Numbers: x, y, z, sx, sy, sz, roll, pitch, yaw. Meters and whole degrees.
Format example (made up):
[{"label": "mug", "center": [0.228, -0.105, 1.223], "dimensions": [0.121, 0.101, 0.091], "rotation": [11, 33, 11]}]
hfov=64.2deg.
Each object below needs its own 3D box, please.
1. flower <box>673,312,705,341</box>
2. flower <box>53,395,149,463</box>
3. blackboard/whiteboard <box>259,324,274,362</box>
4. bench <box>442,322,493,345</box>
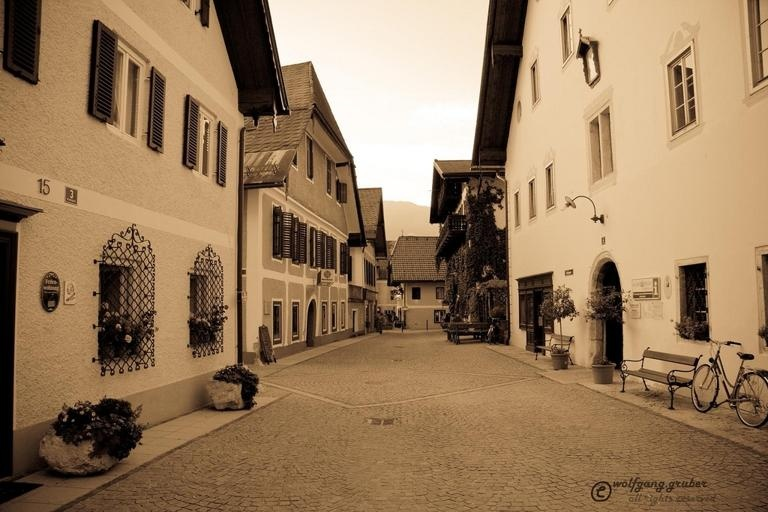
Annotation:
[{"label": "flower", "center": [6.960, 1.647, 13.857], "dimensions": [0.331, 0.536, 0.917], "rotation": [-1, 0, -24]}, {"label": "flower", "center": [-4.610, 2.856, 9.964], "dimensions": [1.261, 0.706, 0.487], "rotation": [0, 0, -29]}, {"label": "blackboard/whiteboard", "center": [-4.126, 3.118, 21.801], "dimensions": [0.455, 1.349, 0.713], "rotation": [0, 0, 4]}, {"label": "bench", "center": [4.383, 3.997, 32.382], "dimensions": [1.942, 1.240, 3.847], "rotation": [-1, 0, 2]}]
